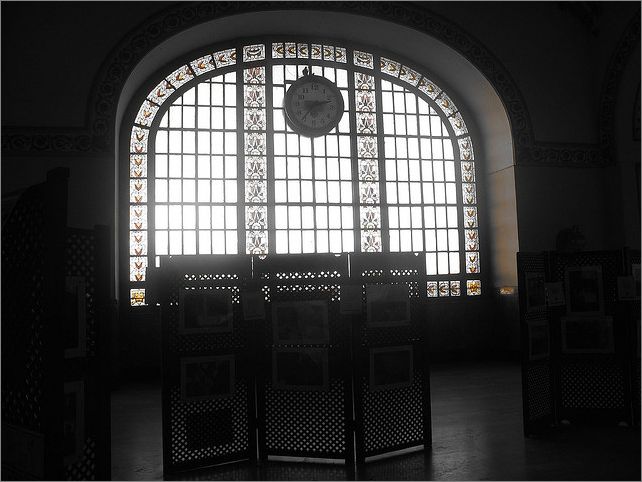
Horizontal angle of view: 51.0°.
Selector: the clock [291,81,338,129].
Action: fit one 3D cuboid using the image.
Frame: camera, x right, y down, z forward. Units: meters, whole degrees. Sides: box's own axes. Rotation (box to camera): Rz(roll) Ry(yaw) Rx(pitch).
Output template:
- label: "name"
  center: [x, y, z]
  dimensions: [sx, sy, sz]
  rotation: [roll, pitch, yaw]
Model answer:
- label: "clock"
  center: [-0.143, -2.164, 10.714]
  dimensions: [0.676, 0.786, 0.102]
  rotation: [0, -3, -22]
